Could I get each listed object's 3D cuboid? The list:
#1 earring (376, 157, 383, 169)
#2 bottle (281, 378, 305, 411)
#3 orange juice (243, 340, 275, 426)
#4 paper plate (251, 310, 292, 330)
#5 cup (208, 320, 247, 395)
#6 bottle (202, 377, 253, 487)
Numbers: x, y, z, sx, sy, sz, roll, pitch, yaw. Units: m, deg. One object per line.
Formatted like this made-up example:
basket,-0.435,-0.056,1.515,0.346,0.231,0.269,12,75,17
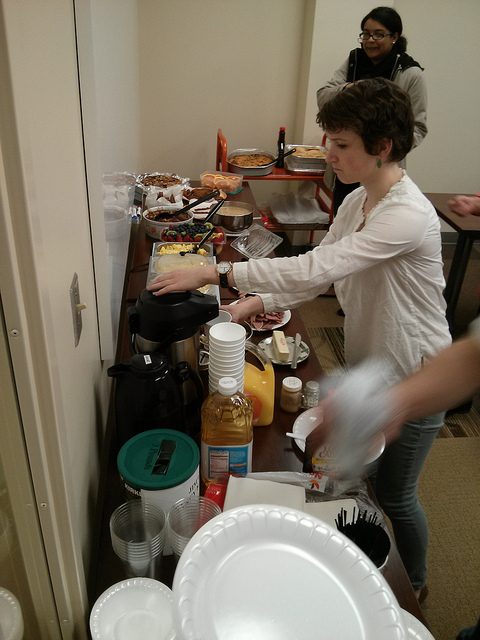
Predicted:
earring,0.415,-0.467,1.343,0.018,0.028,0.008,-10,29,-22
bottle,0.139,0.200,1.212,0.054,0.082,0.085,1,27,2
orange juice,0.048,0.186,1.158,0.082,0.181,0.208,3,28,1
paper plate,0.145,-0.003,1.716,0.090,0.013,0.093,-8,35,7
cup,-0.027,0.082,1.074,0.066,0.118,0.070,4,4,0
bottle,-0.026,0.236,0.921,0.094,0.261,0.110,-1,35,-2
